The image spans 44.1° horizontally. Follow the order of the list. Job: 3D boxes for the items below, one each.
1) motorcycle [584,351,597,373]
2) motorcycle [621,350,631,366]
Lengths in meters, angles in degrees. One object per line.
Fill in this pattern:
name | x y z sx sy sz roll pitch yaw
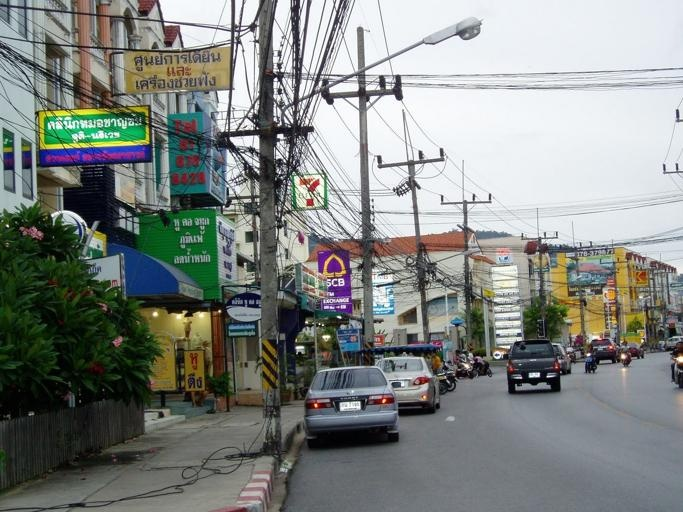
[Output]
motorcycle | 13.695 5.896 46.634 0.588 1.043 1.740 -3 -13 18
motorcycle | 17.972 6.453 53.358 0.652 0.820 1.337 -3 -10 11
